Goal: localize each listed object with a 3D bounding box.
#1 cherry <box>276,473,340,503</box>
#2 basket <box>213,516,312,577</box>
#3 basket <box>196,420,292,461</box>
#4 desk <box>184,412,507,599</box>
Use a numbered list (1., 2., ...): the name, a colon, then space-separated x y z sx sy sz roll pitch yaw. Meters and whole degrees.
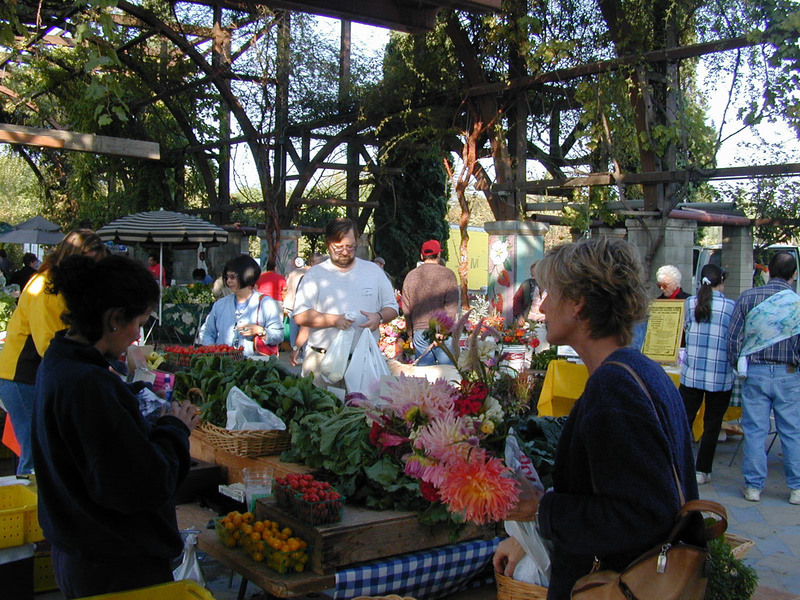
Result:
1. cherry: -0.464 0.912 3.443 0.186 0.101 0.384 -5 6 -44
2. basket: -0.635 1.153 3.363 0.163 0.173 0.508 -6 10 -36
3. basket: -0.900 0.834 4.179 0.436 0.185 0.531 1 -1 -27
4. desk: -0.254 1.171 4.164 1.431 0.738 2.258 -1 6 -33
